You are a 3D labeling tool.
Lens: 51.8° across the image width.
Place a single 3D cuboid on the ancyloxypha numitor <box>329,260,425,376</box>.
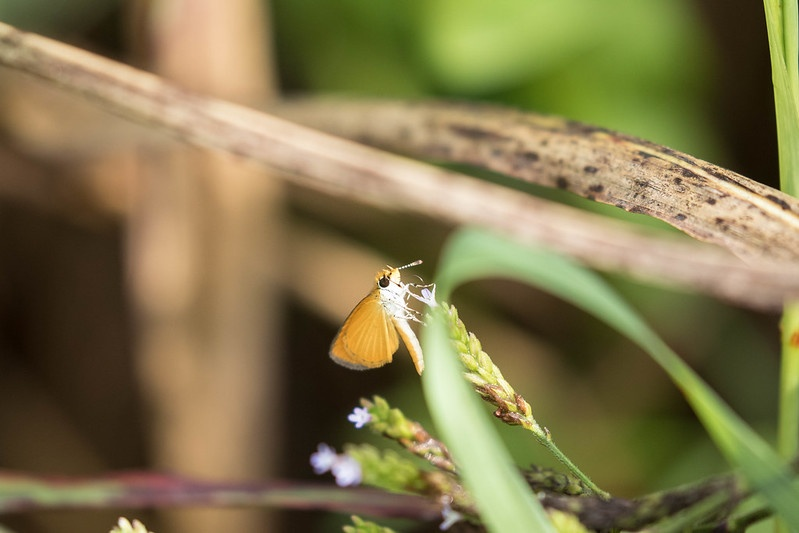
[{"bbox_3d":[-0.050,0.120,1.938,0.159,0.251,0.236,5,2,-13],"label":"ancyloxypha numitor"}]
